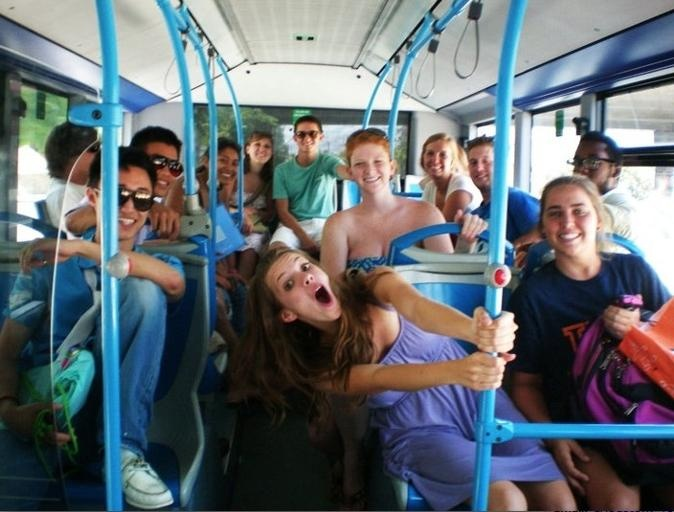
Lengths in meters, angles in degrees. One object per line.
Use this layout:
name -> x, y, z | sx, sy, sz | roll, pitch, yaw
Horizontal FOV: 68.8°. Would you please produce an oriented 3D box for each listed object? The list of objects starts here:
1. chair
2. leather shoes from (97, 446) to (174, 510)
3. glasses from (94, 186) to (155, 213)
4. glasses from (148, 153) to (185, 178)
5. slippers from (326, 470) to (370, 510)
chair -> 0.223, 0.435, 2.029 | 1.452, 0.897, 1.421 | 0, -8, 0
leather shoes -> -0.782, 0.818, 1.897 | 0.139, 0.137, 0.351 | 0, 4, -43
glasses -> -0.762, -0.201, 1.746 | 0.140, 0.059, 0.136 | 18, -21, -27
glasses -> -1.003, -0.535, 2.883 | 0.181, 0.057, 0.185 | 0, -5, 30
slippers -> 0.041, 1.088, 2.227 | 0.145, 0.186, 0.100 | -9, 1, 13
